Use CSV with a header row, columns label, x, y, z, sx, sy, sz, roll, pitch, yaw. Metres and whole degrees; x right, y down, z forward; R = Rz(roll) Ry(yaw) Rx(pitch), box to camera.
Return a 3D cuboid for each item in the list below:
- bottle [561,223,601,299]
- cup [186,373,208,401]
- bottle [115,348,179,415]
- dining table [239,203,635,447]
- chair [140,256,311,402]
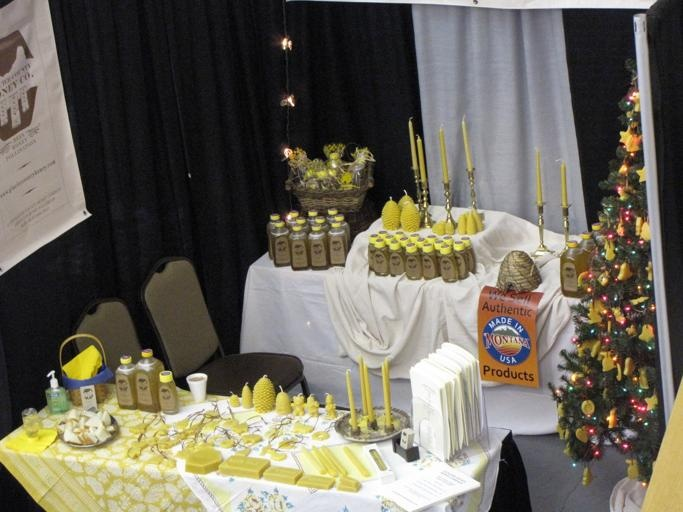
label,x,y,z,sx,sy,sz,roll,pitch,yaw
bottle,1.036,0.033,2.603,0.097,0.253,0.311,3,14,20
cup,-0.568,0.504,2.330,0.091,0.104,0.091,-4,12,1
bottle,-0.765,0.492,2.311,0.228,0.343,0.135,2,12,10
dining table,0.303,0.306,3.298,1.595,0.657,1.016,4,21,14
chair,-0.597,0.376,3.116,0.550,0.866,0.492,3,23,28
